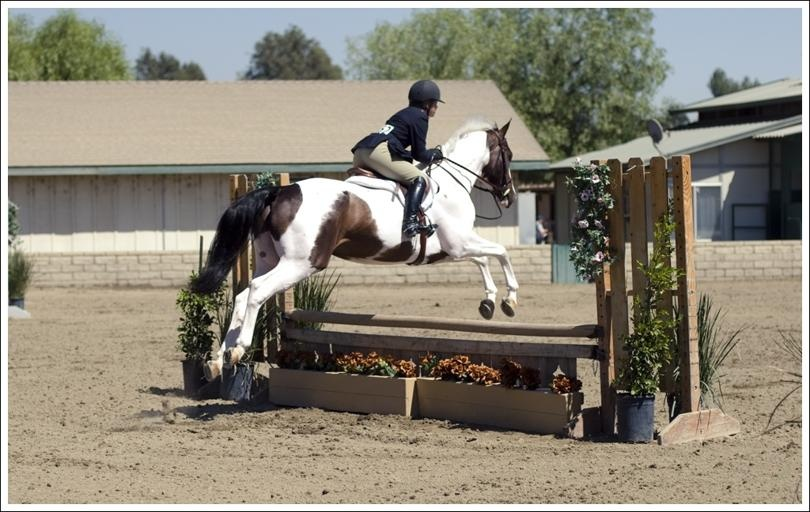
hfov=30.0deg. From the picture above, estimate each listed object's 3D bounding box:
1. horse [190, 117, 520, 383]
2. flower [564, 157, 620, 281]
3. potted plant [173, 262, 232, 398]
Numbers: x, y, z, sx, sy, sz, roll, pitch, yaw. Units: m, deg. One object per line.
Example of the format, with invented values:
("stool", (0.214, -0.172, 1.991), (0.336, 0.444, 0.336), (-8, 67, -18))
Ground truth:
("horse", (-0.758, -0.429, 34.004), (8.004, 5.761, 1.726), (-3, 0, -25))
("flower", (4.205, -0.846, 33.662), (1.130, 2.494, 1.150), (1, 1, 0))
("potted plant", (-4.829, 1.708, 34.647), (0.837, 2.359, 0.836), (-5, -4, 31))
